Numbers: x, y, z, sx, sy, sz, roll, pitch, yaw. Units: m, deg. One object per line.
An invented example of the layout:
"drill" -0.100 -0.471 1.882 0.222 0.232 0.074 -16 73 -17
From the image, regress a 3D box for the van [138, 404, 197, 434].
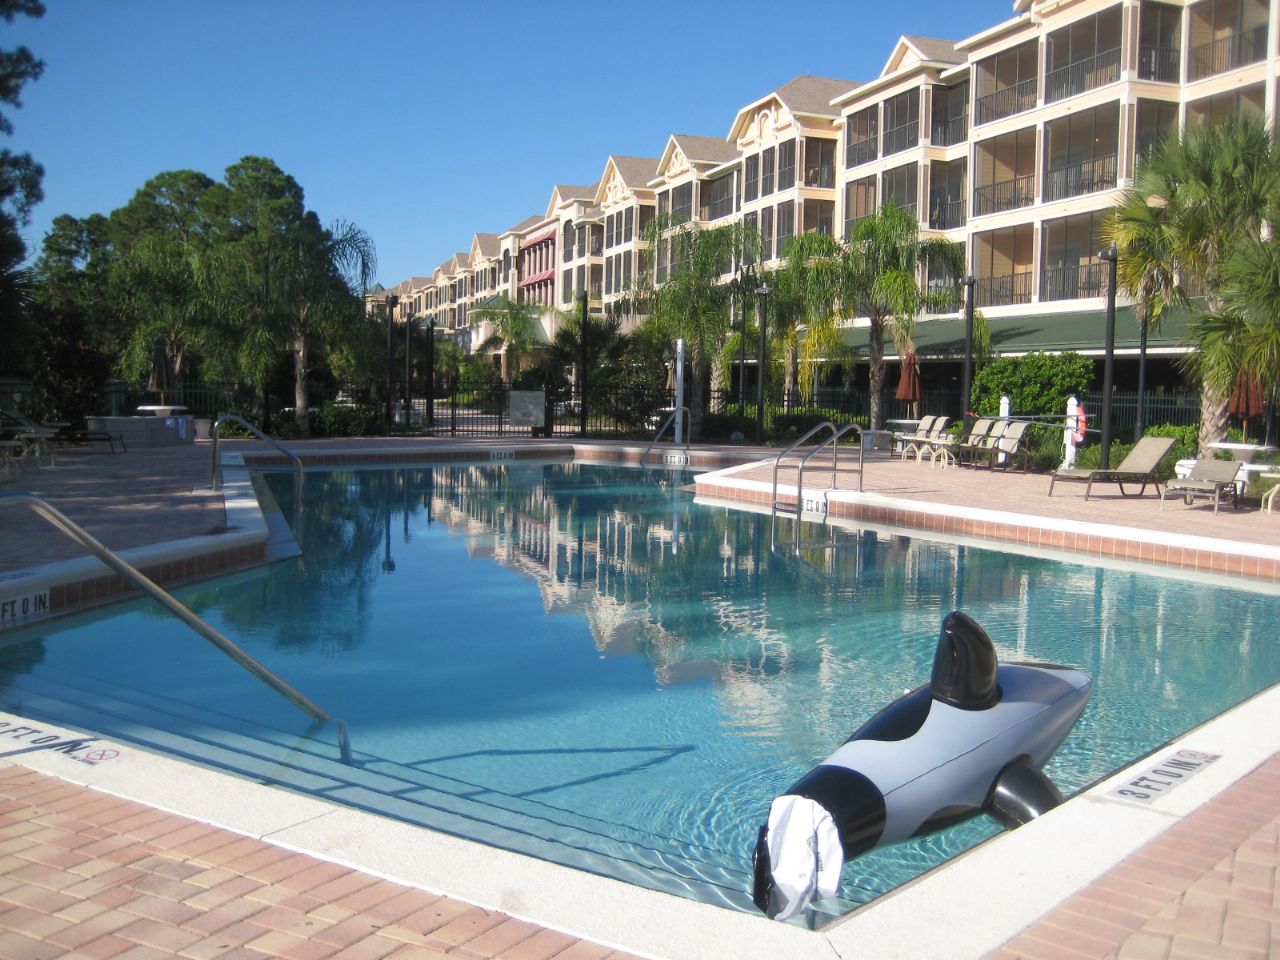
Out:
"van" -12.674 -1.580 27.785 1.171 0.835 4.909 -4 6 -26
